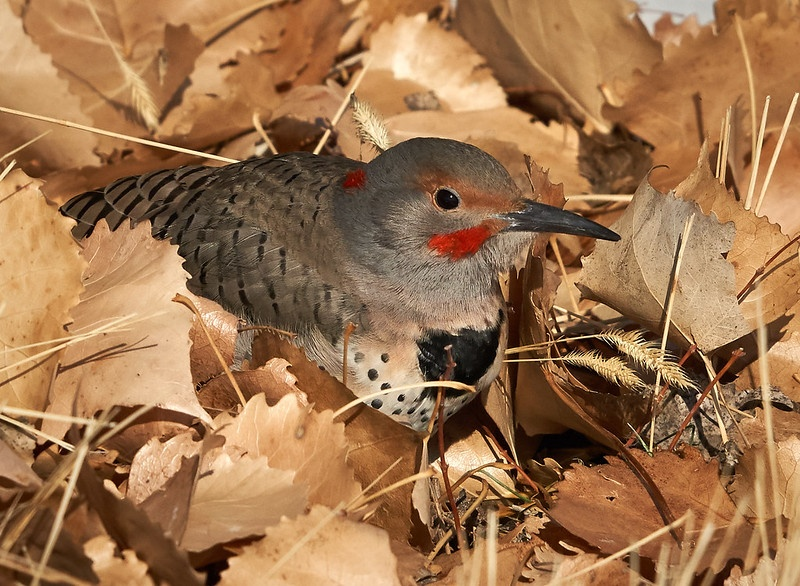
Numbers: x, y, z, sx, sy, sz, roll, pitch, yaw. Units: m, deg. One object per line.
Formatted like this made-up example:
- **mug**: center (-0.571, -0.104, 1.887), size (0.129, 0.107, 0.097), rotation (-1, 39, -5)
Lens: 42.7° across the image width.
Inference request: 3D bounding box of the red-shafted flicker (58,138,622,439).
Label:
- **red-shafted flicker**: center (-0.503, -0.064, 4.706), size (2.690, 1.665, 1.009), rotation (18, 35, 26)
